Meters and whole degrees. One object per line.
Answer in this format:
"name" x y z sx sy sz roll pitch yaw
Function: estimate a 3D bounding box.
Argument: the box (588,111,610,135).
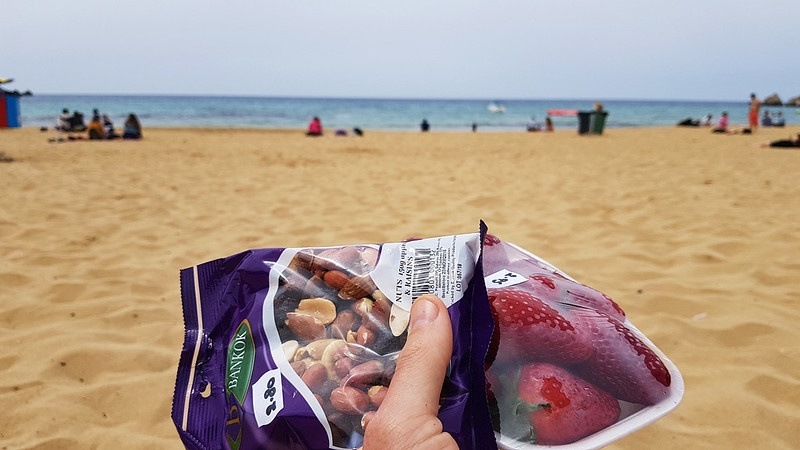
"box" 6.820 -3.521 20.412 0.561 0.747 0.398 5 16 26

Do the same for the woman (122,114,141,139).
"woman" -8.170 -2.987 17.899 0.471 0.756 1.321 -7 14 -20
